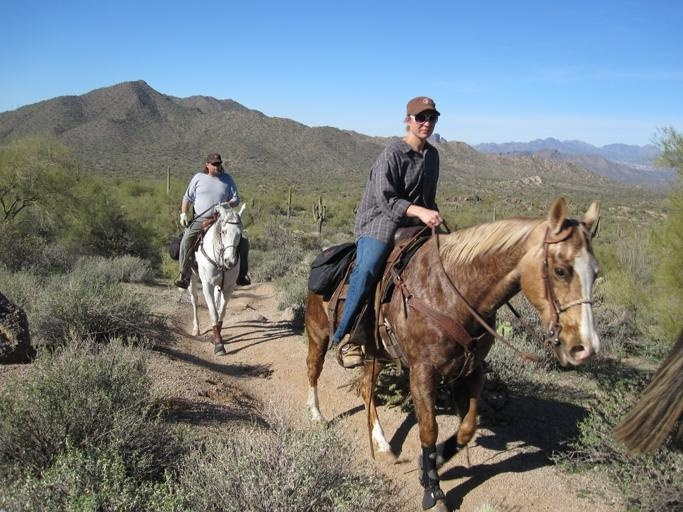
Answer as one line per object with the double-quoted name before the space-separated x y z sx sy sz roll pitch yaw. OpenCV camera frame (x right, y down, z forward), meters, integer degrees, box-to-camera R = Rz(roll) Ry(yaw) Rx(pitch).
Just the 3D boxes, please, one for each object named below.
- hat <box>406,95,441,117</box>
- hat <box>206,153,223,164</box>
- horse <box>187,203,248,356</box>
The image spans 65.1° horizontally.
"hat" 1.017 -1.838 6.633 0.377 0.237 0.346 5 13 10
"hat" -2.592 -1.963 10.947 0.209 0.182 0.307 -1 2 -18
"horse" -2.527 0.389 10.998 0.847 3.000 1.773 -3 13 -27
